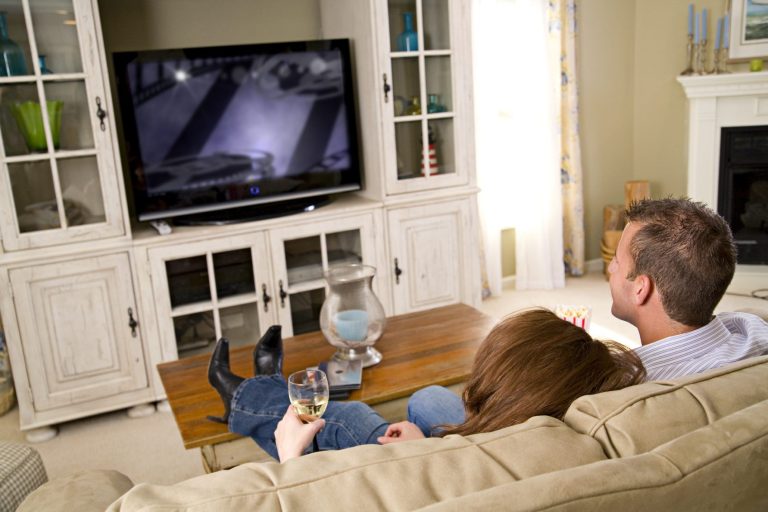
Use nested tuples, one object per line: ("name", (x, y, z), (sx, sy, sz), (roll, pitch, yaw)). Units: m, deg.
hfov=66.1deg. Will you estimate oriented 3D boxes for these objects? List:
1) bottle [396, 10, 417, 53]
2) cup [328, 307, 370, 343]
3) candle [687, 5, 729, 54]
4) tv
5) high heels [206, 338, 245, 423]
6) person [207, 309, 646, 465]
("bottle", (0.148, -1.340, 3.559), (0.161, 0.197, 0.152), (-2, 37, 1))
("cup", (-0.155, 0.291, 2.438), (0.195, 0.124, 0.195), (-3, -10, -1))
("candle", (2.450, -1.746, 4.461), (0.274, 0.376, 0.244), (2, 16, 25))
("tv", (-0.819, -0.734, 3.544), (1.446, 0.993, 0.369), (-16, 29, -32))
("high heels", (-0.592, 0.447, 2.192), (0.116, 0.333, 0.155), (8, -15, -32))
("person", (0.127, 0.372, 1.703), (0.816, 0.177, 0.748), (-10, 13, -28))
